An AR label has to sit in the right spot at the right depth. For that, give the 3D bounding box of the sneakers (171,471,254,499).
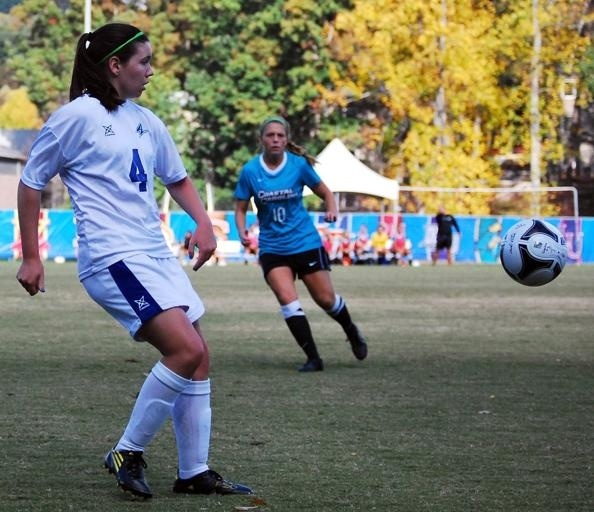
[{"bbox_3d":[-0.465,1.221,6.114,0.459,0.162,0.150,0,-5,0],"label":"sneakers"}]

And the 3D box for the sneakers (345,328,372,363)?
[{"bbox_3d":[0.503,0.726,9.513,0.117,0.341,0.138,-30,-14,15],"label":"sneakers"}]

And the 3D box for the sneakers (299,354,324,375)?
[{"bbox_3d":[0.116,0.874,9.072,0.082,0.100,0.249,-4,-10,42],"label":"sneakers"}]

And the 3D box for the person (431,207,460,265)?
[{"bbox_3d":[3.630,-0.449,27.918,0.681,1.480,2.456,-2,5,8],"label":"person"}]

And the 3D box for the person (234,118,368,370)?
[{"bbox_3d":[0.002,-0.102,9.223,0.972,2.044,0.663,-4,5,-4],"label":"person"}]

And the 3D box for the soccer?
[{"bbox_3d":[2.220,-0.024,10.714,0.638,0.598,0.503,0,6,29],"label":"soccer"}]

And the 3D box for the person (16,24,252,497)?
[{"bbox_3d":[-0.890,0.022,6.008,1.053,2.512,0.487,-5,6,-13],"label":"person"}]
